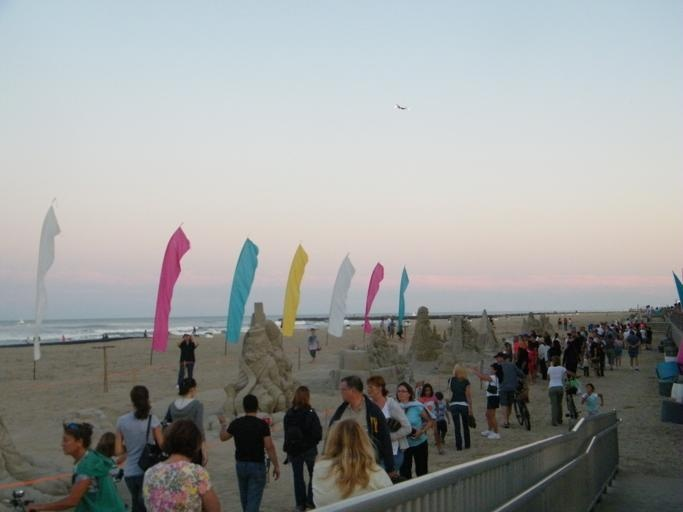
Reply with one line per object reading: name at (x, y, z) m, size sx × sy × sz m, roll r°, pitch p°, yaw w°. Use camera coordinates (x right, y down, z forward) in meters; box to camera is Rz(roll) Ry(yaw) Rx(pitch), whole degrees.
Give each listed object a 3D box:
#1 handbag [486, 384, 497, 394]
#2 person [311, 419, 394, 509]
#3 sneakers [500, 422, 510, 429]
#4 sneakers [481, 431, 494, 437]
handbag at (3.375, 2.975, 14.899) m, size 0.278 × 0.199 × 0.355 m, roll -3°, pitch 1°, yaw 0°
person at (0.090, 2.304, 7.423) m, size 0.852 × 0.937 × 0.264 m, roll -1°, pitch -4°, yaw -3°
sneakers at (3.937, 4.107, 16.028) m, size 0.091 × 0.110 × 0.274 m, roll -2°, pitch -13°, yaw -3°
sneakers at (3.225, 4.000, 14.883) m, size 0.201 × 0.088 × 0.105 m, roll -1°, pitch -5°, yaw 41°
